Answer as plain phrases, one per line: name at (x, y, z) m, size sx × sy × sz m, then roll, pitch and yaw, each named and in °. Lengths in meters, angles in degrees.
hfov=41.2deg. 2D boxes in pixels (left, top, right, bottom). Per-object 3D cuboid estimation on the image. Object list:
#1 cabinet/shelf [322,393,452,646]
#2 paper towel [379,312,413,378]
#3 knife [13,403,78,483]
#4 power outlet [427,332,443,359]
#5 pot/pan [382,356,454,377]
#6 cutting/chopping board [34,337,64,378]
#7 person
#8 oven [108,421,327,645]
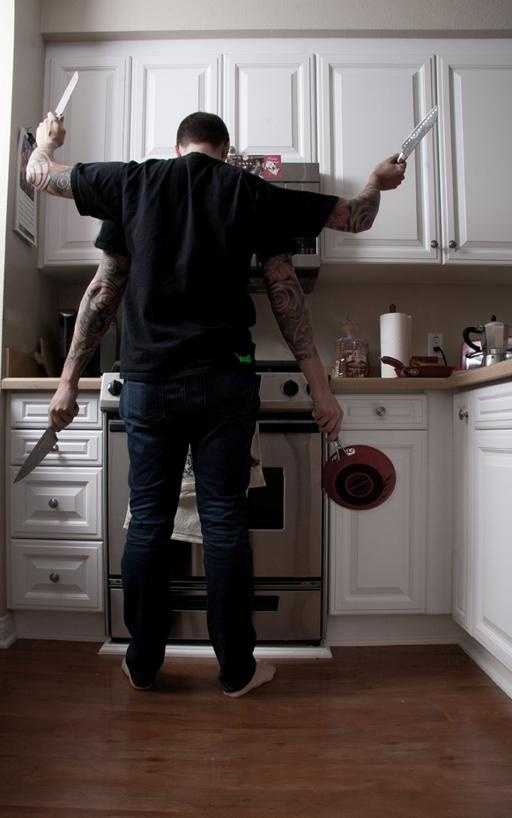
cabinet/shelf at (0.476, 0.367, 2.202) m, size 0.468 × 0.776 × 0.489 m, roll 6°, pitch -10°, yaw -18°
paper towel at (0.495, -0.258, 2.449) m, size 0.100 × 0.098 × 0.251 m, roll 7°, pitch -24°, yaw 13°
knife at (-0.592, 0.102, 1.942) m, size 0.021 × 0.262 × 0.044 m, roll 25°, pitch -8°, yaw 42°
power outlet at (0.704, -0.251, 2.692) m, size 0.062 × 0.099 × 0.046 m, roll 1°, pitch 2°, yaw 14°
pot/pan at (0.506, -0.122, 2.137) m, size 0.174 × 0.063 × 0.116 m, roll -1°, pitch 2°, yaw 3°
cutting/chopping board at (-0.733, -0.179, 2.405) m, size 0.015 × 0.157 × 0.148 m, roll -13°, pitch -9°, yaw 7°
person at (-0.121, 0.004, 1.605) m, size 0.806 × 1.410 × 0.342 m, roll 0°, pitch 2°, yaw -16°
oven at (-0.127, 0.435, 2.223) m, size 0.613 × 0.775 × 0.555 m, roll 2°, pitch -32°, yaw -4°
